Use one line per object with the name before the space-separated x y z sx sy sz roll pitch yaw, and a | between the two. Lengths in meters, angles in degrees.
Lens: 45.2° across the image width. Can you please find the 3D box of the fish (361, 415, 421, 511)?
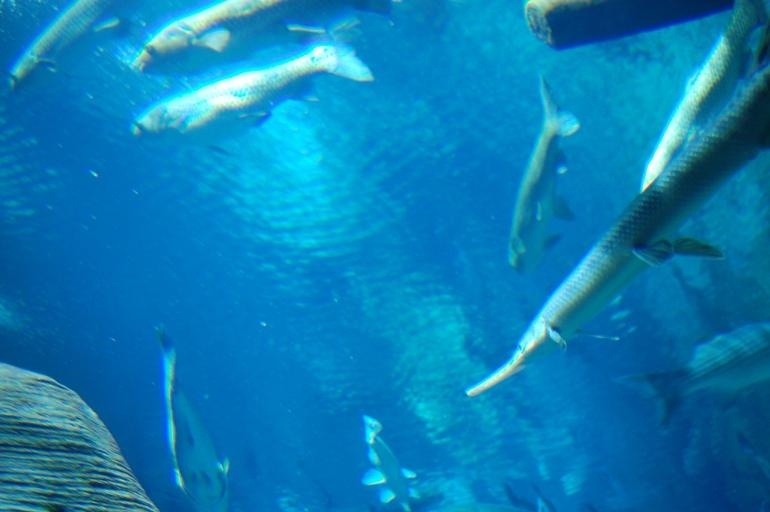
fish | 0.005 2.594 11.171 0.520 1.400 0.570 -11 28 19
